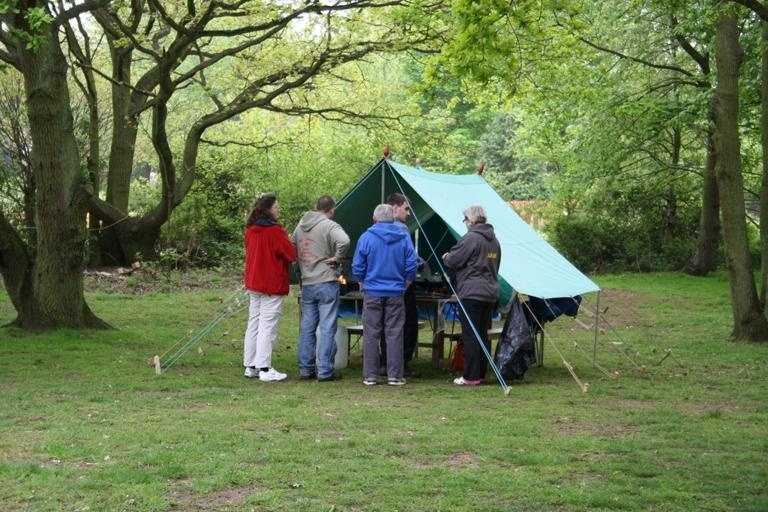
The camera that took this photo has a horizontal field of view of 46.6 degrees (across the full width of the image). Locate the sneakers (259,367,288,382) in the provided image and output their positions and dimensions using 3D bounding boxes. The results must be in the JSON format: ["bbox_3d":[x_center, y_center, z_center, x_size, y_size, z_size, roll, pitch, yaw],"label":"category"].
[{"bbox_3d":[-1.596,1.710,12.960,0.430,0.198,0.167,0,5,-9],"label":"sneakers"}]

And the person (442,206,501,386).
[{"bbox_3d":[1.317,0.569,12.902,0.704,2.506,0.640,-6,14,-30],"label":"person"}]

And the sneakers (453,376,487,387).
[{"bbox_3d":[1.196,1.794,12.925,0.377,0.157,0.151,-2,-1,17],"label":"sneakers"}]

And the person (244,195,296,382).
[{"bbox_3d":[-1.670,0.446,12.951,0.722,2.657,0.815,-1,13,-9],"label":"person"}]

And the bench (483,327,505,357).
[{"bbox_3d":[1.664,1.307,13.632,0.425,0.405,0.427,0,-2,5],"label":"bench"}]

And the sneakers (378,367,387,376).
[{"bbox_3d":[-0.025,1.715,13.342,0.148,0.142,0.146,-5,-8,41],"label":"sneakers"}]

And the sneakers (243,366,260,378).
[{"bbox_3d":[-1.928,1.694,13.064,0.274,0.122,0.096,-1,4,-14],"label":"sneakers"}]

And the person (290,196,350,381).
[{"bbox_3d":[-0.935,0.458,13.024,0.718,2.611,0.723,-6,14,-29],"label":"person"}]

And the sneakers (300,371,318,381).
[{"bbox_3d":[-1.089,1.741,13.051,0.097,0.122,0.264,-5,-11,44],"label":"sneakers"}]

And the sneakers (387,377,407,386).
[{"bbox_3d":[0.193,1.802,12.901,0.256,0.111,0.100,-2,2,-32],"label":"sneakers"}]

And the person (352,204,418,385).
[{"bbox_3d":[0.043,0.551,12.854,0.815,2.527,0.742,-6,14,-29],"label":"person"}]

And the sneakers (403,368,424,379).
[{"bbox_3d":[0.434,1.761,13.434,0.291,0.115,0.100,-2,1,35],"label":"sneakers"}]

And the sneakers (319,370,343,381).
[{"bbox_3d":[-0.774,1.740,13.049,0.318,0.132,0.116,-6,10,-32],"label":"sneakers"}]

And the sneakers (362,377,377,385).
[{"bbox_3d":[-0.204,1.791,12.843,0.087,0.093,0.206,0,3,-26],"label":"sneakers"}]
